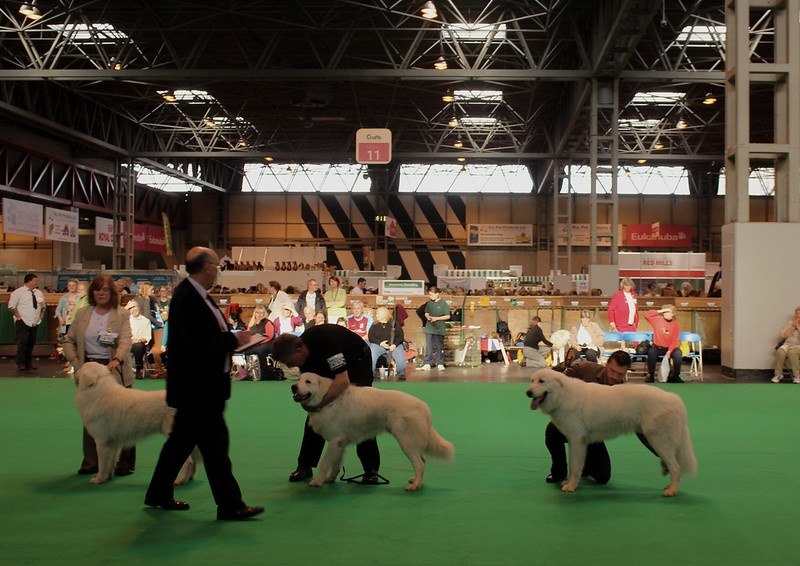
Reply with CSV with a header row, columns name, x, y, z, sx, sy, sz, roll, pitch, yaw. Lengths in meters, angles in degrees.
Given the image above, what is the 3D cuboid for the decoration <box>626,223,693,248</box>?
name,x,y,z,sx,sy,sz,roll,pitch,yaw
decoration,13.715,-2.496,40.185,3.496,1.237,1.032,1,10,9

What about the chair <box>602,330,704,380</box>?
name,x,y,z,sx,sy,sz,roll,pitch,yaw
chair,4.894,1.384,14.678,1.411,0.637,0.417,0,-6,-1

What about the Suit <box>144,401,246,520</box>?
name,x,y,z,sx,sy,sz,roll,pitch,yaw
Suit,-2.338,2.039,8.538,1.259,1.207,0.423,11,19,13

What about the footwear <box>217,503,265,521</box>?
name,x,y,z,sx,sy,sz,roll,pitch,yaw
footwear,-1.740,2.526,8.359,0.504,0.169,0.166,-1,-2,-9
